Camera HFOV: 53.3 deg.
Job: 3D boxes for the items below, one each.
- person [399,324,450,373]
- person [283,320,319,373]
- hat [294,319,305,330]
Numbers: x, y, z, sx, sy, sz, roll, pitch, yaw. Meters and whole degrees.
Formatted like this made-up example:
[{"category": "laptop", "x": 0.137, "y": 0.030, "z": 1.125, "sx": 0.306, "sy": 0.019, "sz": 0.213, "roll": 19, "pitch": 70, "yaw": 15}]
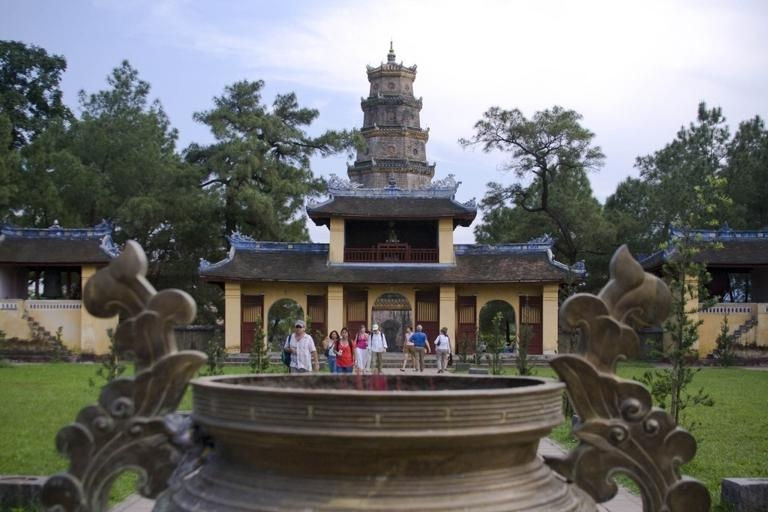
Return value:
[{"category": "person", "x": 1.382, "y": 3.049, "z": 24.608, "sx": 1.383, "sy": 1.638, "sz": 0.676, "roll": 2, "pitch": 4, "yaw": 24}, {"category": "person", "x": -1.639, "y": 1.790, "z": 14.898, "sx": 0.582, "sy": 0.963, "sz": 0.567, "roll": 1, "pitch": -4, "yaw": -10}, {"category": "hat", "x": -1.635, "y": 1.372, "z": 14.938, "sx": 0.205, "sy": 0.123, "sz": 0.351, "roll": 2, "pitch": -7, "yaw": 3}]
